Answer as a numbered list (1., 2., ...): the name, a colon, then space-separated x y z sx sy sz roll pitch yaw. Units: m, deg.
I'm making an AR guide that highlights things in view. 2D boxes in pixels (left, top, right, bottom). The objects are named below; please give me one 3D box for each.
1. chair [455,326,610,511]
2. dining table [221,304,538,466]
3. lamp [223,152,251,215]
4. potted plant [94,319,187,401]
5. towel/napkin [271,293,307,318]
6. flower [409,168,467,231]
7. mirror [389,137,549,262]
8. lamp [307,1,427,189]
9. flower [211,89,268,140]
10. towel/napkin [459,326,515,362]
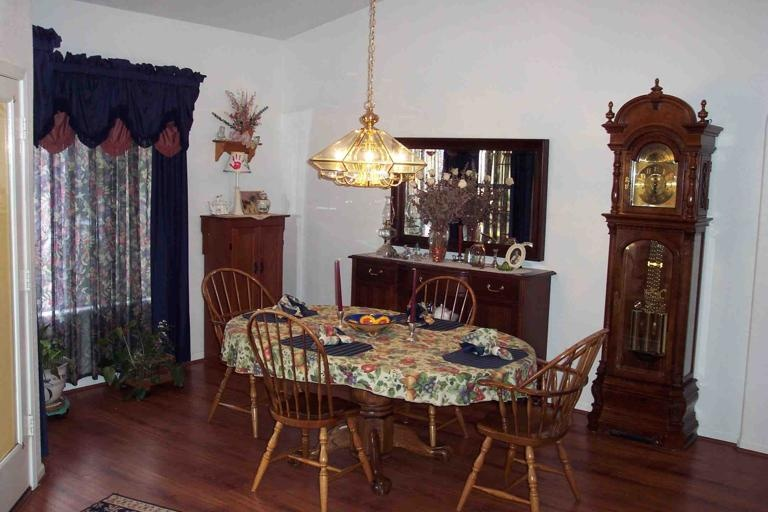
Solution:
1. chair: 0.992 1.079 3.863 0.753 1.247 0.991 6 6 41
2. dining table: -0.065 0.685 3.877 1.696 0.437 1.076 8 15 31
3. lamp: -1.609 -0.806 6.247 0.264 0.693 0.383 1 5 -16
4. potted plant: -2.333 0.985 5.452 0.690 0.928 0.723 -5 13 -31
5. towel/napkin: -0.739 0.425 4.506 0.210 0.080 0.169 28 23 20
6. flower: 0.551 -0.559 5.790 0.546 0.632 0.561 0 -3 -4
7. mirror: 0.884 -0.555 5.432 1.142 0.841 0.091 12 21 34
8. lamp: -0.104 -1.037 3.820 0.774 1.126 0.316 1 5 -9
9. flower: -1.600 -1.547 6.386 0.513 0.375 0.537 0 9 -15
10. towel/napkin: 0.696 0.598 3.874 0.227 0.080 0.213 23 20 33
